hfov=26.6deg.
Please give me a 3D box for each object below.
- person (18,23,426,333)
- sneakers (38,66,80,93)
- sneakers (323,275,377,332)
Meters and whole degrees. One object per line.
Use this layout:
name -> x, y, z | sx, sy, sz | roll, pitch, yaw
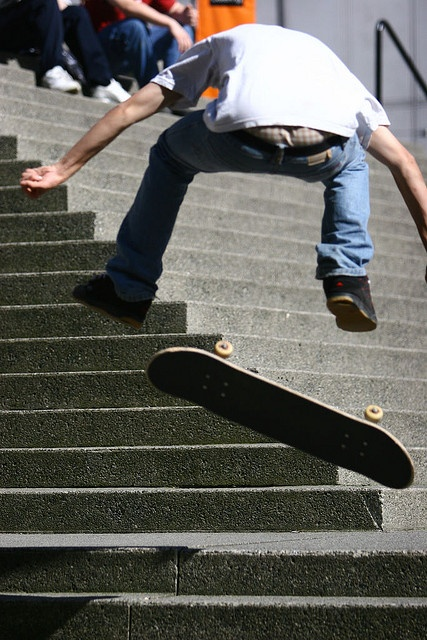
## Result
person -> 0.103, -0.434, 3.123 | 1.269, 1.140, 0.476 | 10, 19, 13
sneakers -> -1.009, -1.606, 6.011 | 0.295, 0.186, 0.141 | 13, 54, 1
sneakers -> 0.480, -0.058, 3.127 | 0.111, 0.116, 0.270 | -5, -22, 26
